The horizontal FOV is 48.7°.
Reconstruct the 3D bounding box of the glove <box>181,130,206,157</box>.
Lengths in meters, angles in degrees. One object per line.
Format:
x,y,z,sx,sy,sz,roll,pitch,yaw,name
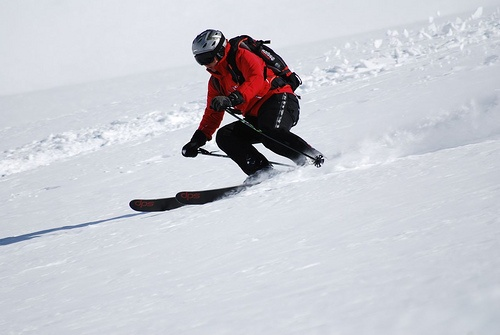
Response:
-0.645,-0.280,6.397,0.329,0.132,0.262,-45,33,-1,glove

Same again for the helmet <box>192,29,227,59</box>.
-0.442,-1.317,5.862,0.380,0.274,0.289,-11,20,29,helmet

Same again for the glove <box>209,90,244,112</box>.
-0.221,-0.665,5.722,0.301,0.194,0.111,-24,59,-15,glove

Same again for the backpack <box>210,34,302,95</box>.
0.149,-1.111,6.072,0.720,0.764,0.246,-31,18,-25,backpack
